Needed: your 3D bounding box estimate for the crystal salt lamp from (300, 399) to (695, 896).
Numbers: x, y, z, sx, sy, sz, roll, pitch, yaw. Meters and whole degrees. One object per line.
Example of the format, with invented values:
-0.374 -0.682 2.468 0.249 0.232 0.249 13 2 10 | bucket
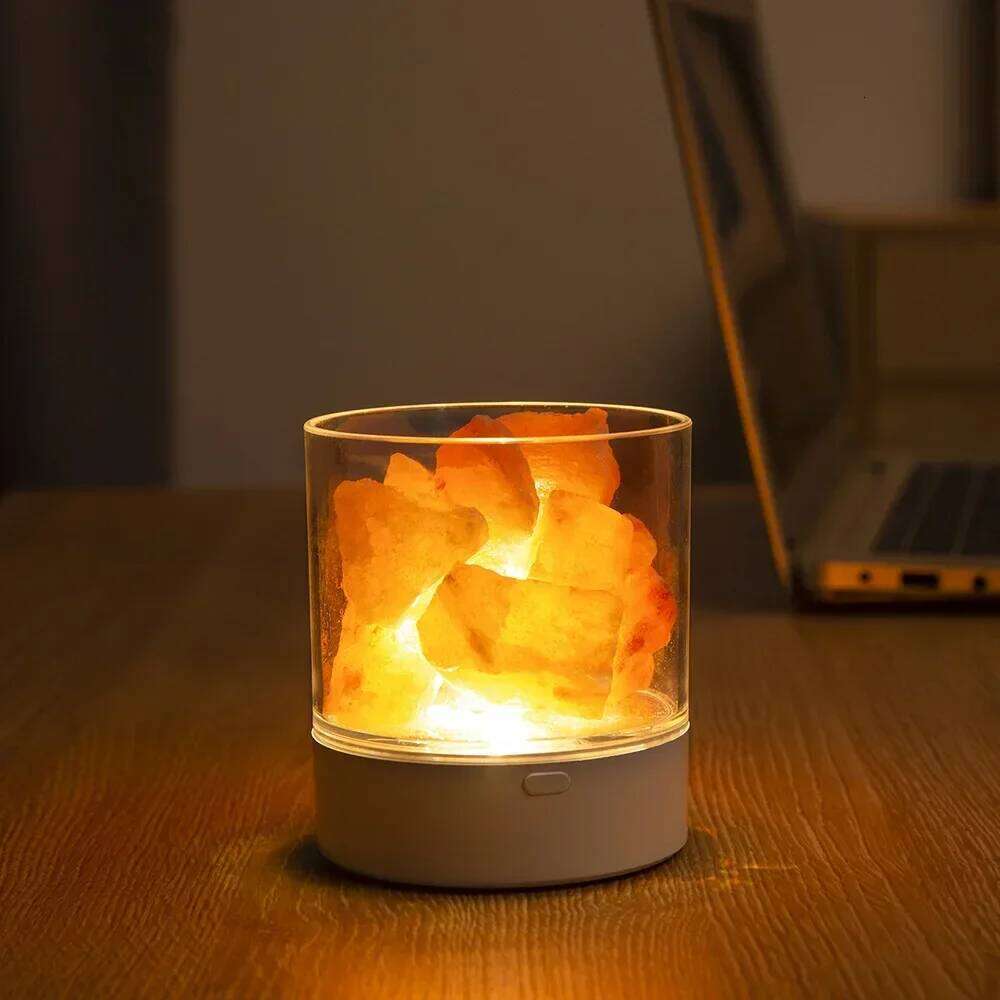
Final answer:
-0.003 0.071 0.646 0.202 0.273 0.220 -1 2 0 | crystal salt lamp
